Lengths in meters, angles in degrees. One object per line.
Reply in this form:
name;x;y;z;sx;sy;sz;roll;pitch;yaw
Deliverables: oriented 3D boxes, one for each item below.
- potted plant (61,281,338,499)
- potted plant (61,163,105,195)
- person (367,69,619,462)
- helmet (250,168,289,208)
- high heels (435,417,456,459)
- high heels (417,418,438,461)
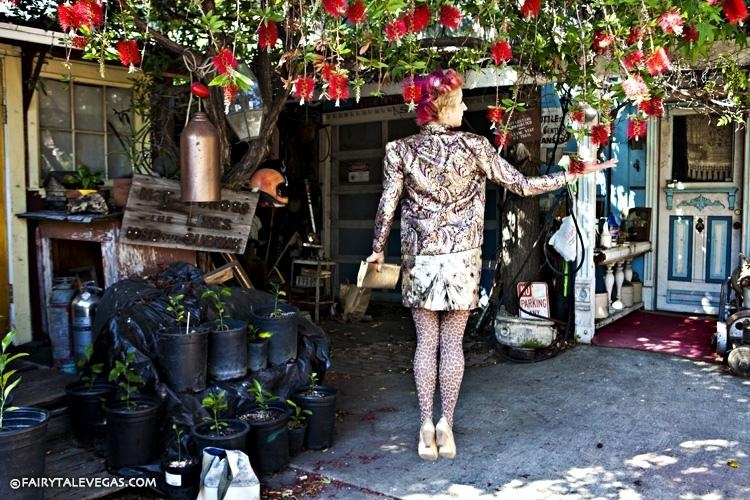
potted plant;-1.313;1.117;4.754;1.684;0.561;1.459;-9;19;-24
potted plant;-2.755;-0.653;5.825;0.348;0.215;0.340;-4;8;-24
person;0.498;0.114;4.564;0.970;2.826;0.730;-6;12;-28
helmet;-1.065;-0.597;6.053;0.292;0.375;0.545;6;12;28
high heels;0.526;1.352;4.480;0.120;0.328;0.140;-3;13;15
high heels;0.371;1.373;4.343;0.109;0.139;0.321;0;-2;5
